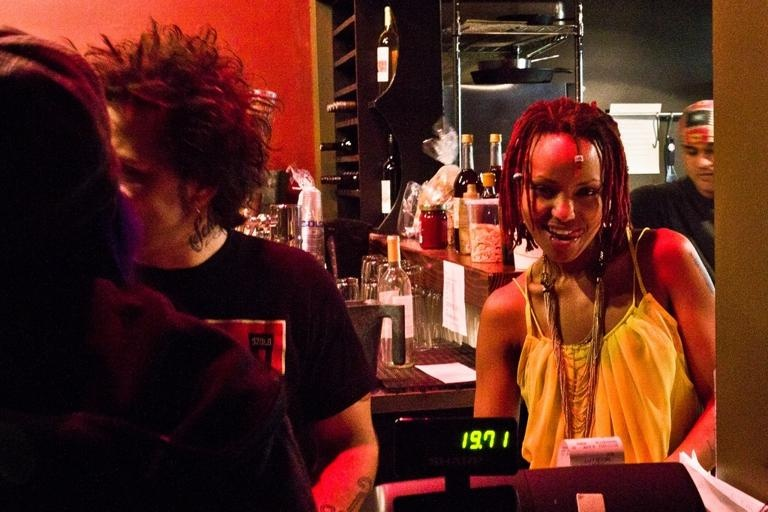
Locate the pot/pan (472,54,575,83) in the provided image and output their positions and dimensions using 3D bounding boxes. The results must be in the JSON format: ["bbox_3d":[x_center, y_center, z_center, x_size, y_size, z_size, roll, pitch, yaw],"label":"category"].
[{"bbox_3d":[0.774,-1.081,3.388,0.491,0.072,0.307,-2,0,-32],"label":"pot/pan"}]

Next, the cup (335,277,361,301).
[{"bbox_3d":[-0.135,0.133,2.518,0.111,0.112,0.116,0,3,0],"label":"cup"}]

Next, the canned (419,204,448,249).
[{"bbox_3d":[0.221,-0.122,2.661,0.121,0.192,0.108,3,3,5],"label":"canned"}]

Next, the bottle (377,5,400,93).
[{"bbox_3d":[0.027,-1.234,3.772,0.115,0.570,0.348,2,3,-3],"label":"bottle"}]

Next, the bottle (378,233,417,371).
[{"bbox_3d":[0.046,0.163,2.114,0.132,0.459,0.354,3,3,2],"label":"bottle"}]

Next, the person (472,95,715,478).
[{"bbox_3d":[0.465,0.060,1.373,0.518,0.812,0.256,4,3,29],"label":"person"}]

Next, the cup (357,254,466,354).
[{"bbox_3d":[0.154,0.190,2.508,0.286,0.422,0.411,-2,4,-40],"label":"cup"}]
